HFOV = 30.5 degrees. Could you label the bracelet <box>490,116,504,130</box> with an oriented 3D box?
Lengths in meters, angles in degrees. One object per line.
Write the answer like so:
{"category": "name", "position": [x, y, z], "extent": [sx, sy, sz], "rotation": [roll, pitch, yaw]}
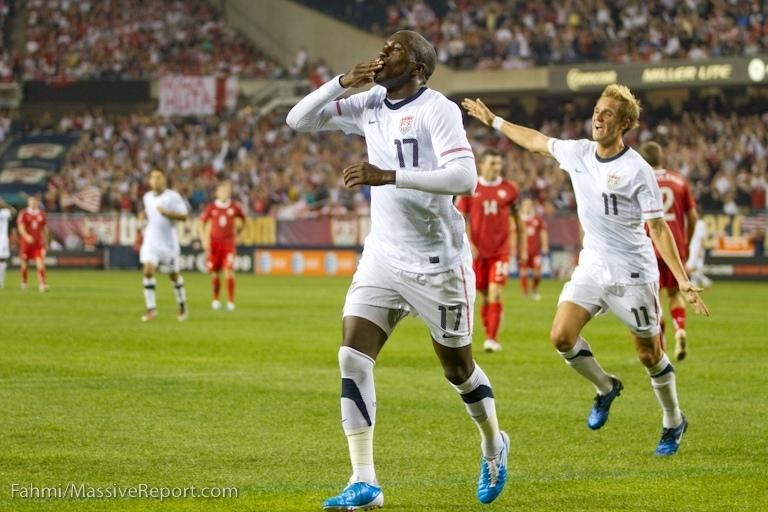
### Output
{"category": "bracelet", "position": [1.129, -1.325, 13.781], "extent": [0.124, 0.129, 0.128], "rotation": [-15, -11, 9]}

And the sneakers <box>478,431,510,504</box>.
{"category": "sneakers", "position": [1.031, 1.903, 12.557], "extent": [0.210, 0.633, 0.253], "rotation": [1, -23, 34]}

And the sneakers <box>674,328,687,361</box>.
{"category": "sneakers", "position": [3.352, 1.000, 15.788], "extent": [0.132, 0.369, 0.170], "rotation": [-2, 5, 8]}

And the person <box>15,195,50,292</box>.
{"category": "person", "position": [-3.207, -0.118, 12.822], "extent": [0.259, 0.863, 0.204], "rotation": [-1, 2, -14]}

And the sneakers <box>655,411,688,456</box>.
{"category": "sneakers", "position": [2.775, 1.752, 13.343], "extent": [0.207, 0.505, 0.180], "rotation": [36, -14, -35]}
